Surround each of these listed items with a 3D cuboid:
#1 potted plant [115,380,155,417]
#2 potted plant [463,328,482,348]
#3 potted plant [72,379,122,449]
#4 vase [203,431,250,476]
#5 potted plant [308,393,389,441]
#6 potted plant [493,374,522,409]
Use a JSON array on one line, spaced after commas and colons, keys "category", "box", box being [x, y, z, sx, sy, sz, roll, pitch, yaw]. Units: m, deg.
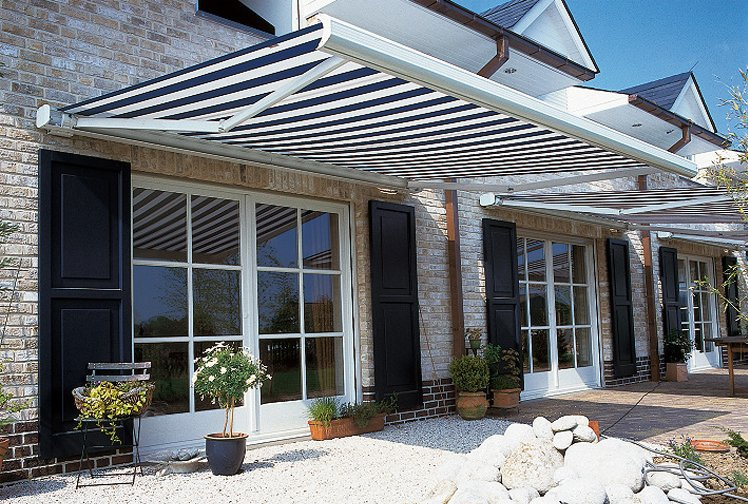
[{"category": "potted plant", "box": [-2.712, 1.692, 6.059, 0.379, 0.289, 0.394, 0, -12, -2]}, {"category": "potted plant", "box": [1.871, 1.603, 9.824, 0.365, 0.346, 0.365, -3, -4, 27]}, {"category": "potted plant", "box": [-3.148, 1.878, 6.014, 0.480, 0.752, 0.647, 0, -10, -25]}, {"category": "vase", "box": [-1.722, 2.358, 6.255, 0.480, 0.334, 0.480, -5, -7, 28]}, {"category": "potted plant", "box": [-0.377, 2.519, 8.148, 1.319, 0.583, 0.512, -1, -10, -22]}, {"category": "potted plant", "box": [2.502, 2.603, 9.843, 0.558, 0.536, 0.569, -9, -13, 35]}]
